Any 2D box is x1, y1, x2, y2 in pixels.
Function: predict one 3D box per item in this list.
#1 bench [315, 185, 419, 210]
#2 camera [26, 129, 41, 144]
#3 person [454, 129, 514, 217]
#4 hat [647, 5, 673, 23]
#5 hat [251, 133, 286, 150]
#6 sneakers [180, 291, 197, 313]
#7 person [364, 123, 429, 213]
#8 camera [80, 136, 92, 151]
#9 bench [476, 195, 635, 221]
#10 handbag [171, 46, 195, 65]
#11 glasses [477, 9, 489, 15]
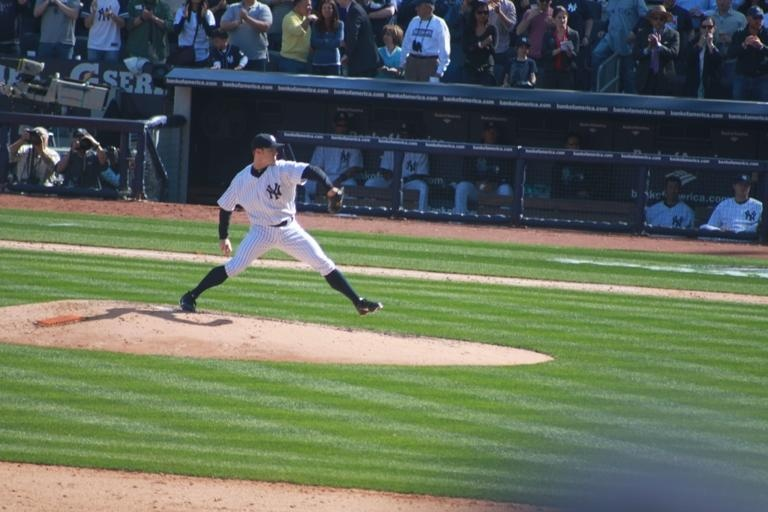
[{"bbox_3d":[-0.281,-1.223,34.402,2.560,0.431,0.592,1,-33,4],"label":"bench"},{"bbox_3d":[-7.017,-2.400,33.666,0.217,0.278,0.208,-4,11,-6],"label":"camera"},{"bbox_3d":[2.063,-1.853,34.724,1.218,2.224,1.012,3,33,7],"label":"person"},{"bbox_3d":[5.525,-4.833,33.564,0.470,0.267,0.263,4,2,8],"label":"hat"},{"bbox_3d":[-1.781,-1.727,26.128,0.479,0.234,0.332,-1,13,-2],"label":"hat"},{"bbox_3d":[-3.048,0.711,26.279,0.342,0.236,0.114,27,23,-25],"label":"sneakers"},{"bbox_3d":[0.356,-1.726,34.227,1.189,1.592,0.940,2,10,8],"label":"person"},{"bbox_3d":[-6.016,-2.260,33.913,0.220,0.216,0.209,-5,1,-14],"label":"camera"},{"bbox_3d":[3.567,-0.985,34.052,3.049,0.390,0.468,5,2,14],"label":"bench"},{"bbox_3d":[-4.197,-4.195,35.275,0.303,0.323,0.978,-2,-10,-27],"label":"handbag"},{"bbox_3d":[1.961,-4.842,33.290,0.210,0.072,0.111,4,2,0],"label":"glasses"}]
